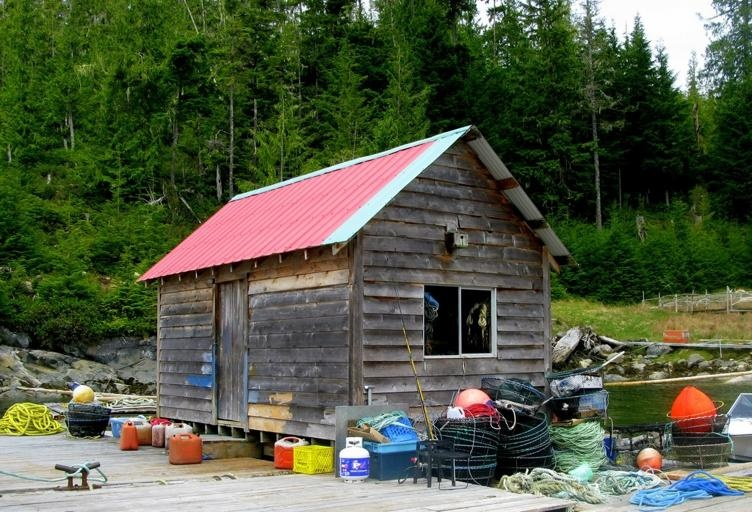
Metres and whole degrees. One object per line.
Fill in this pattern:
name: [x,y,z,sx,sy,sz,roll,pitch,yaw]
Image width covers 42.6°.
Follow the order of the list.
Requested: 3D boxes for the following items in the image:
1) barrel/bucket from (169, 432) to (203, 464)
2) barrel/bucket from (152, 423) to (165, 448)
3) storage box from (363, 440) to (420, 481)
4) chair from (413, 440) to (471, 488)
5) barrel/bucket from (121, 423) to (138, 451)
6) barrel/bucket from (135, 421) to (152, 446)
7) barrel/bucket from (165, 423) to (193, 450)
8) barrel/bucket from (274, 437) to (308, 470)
barrel/bucket: [-7.361,7.436,37.154,1.450,1.225,1.026,3,-6,-21]
barrel/bucket: [-8.742,7.256,38.708,0.582,0.873,0.321,-1,-10,6]
storage box: [0.655,7.363,35.145,1.674,0.926,1.605,4,-8,-29]
chair: [2.358,7.528,34.731,1.695,1.515,1.842,8,-16,-34]
barrel/bucket: [-9.866,7.218,38.444,0.667,1.061,0.380,2,-10,-13]
barrel/bucket: [-9.432,7.238,38.960,0.883,0.815,0.471,3,-10,-22]
barrel/bucket: [-7.991,7.355,38.574,1.334,1.271,0.735,3,-5,-29]
barrel/bucket: [-3.239,7.425,36.219,1.175,1.179,0.801,-1,-10,3]
